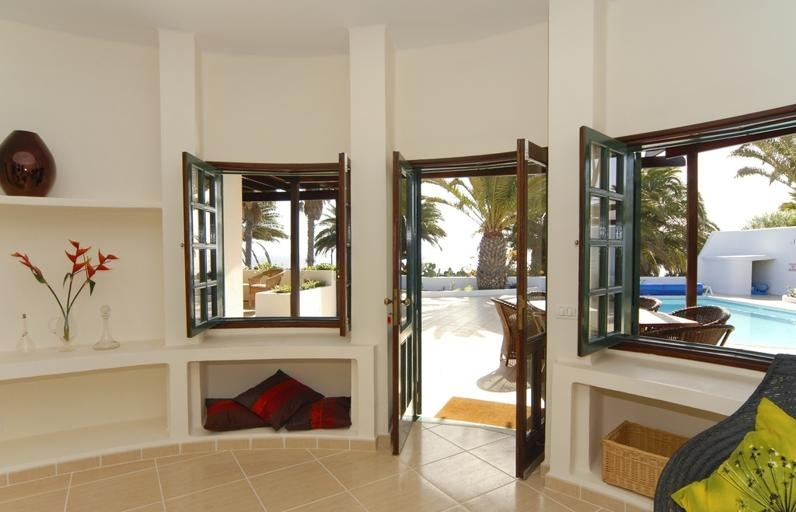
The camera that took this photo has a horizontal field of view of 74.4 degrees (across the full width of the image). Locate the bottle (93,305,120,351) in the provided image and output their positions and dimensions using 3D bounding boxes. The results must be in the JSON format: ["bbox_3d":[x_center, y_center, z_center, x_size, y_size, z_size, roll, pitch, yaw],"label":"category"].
[{"bbox_3d":[-2.927,0.698,5.248,0.240,0.419,0.288,-3,3,-18],"label":"bottle"}]

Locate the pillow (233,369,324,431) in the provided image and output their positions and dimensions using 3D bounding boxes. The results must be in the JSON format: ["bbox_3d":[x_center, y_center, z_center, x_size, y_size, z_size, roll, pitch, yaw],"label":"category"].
[{"bbox_3d":[-1.237,1.462,5.363,0.573,0.151,0.568,26,37,27],"label":"pillow"}]

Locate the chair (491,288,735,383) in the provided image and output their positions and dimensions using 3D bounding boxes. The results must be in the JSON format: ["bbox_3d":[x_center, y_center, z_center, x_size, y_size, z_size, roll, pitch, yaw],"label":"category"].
[{"bbox_3d":[2.264,0.805,5.660,2.387,1.057,2.191,-2,2,10],"label":"chair"}]

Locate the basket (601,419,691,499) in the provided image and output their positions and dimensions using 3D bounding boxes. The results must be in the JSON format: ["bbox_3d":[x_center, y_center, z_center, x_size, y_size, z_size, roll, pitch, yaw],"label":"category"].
[{"bbox_3d":[2.237,1.804,4.652,0.748,0.380,0.563,3,-6,-37],"label":"basket"}]

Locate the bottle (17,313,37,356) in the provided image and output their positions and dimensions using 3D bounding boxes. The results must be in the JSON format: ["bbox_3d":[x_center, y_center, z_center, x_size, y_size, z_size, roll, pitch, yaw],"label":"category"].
[{"bbox_3d":[-3.648,0.741,5.111,0.143,0.360,0.206,-4,3,-33],"label":"bottle"}]

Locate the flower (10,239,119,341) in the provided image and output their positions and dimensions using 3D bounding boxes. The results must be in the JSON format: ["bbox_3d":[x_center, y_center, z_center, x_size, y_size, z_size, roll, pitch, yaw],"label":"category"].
[{"bbox_3d":[-3.248,0.289,5.267,1.149,1.136,0.776,-2,6,-28],"label":"flower"}]

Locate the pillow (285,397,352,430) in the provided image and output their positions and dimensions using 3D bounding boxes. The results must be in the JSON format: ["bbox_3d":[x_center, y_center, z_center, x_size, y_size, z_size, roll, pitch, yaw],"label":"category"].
[{"bbox_3d":[-0.815,1.621,5.381,0.667,0.263,0.256,-2,2,-11],"label":"pillow"}]

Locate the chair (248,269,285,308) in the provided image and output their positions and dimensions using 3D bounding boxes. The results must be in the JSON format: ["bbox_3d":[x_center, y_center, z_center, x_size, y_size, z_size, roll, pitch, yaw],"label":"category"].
[{"bbox_3d":[-2.536,0.591,9.867,0.541,0.653,0.523,5,0,-40],"label":"chair"}]

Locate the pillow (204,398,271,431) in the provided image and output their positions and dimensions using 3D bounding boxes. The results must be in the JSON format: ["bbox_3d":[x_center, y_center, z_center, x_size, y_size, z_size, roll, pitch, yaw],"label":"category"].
[{"bbox_3d":[-1.720,1.562,5.365,0.550,0.148,0.448,3,29,-13],"label":"pillow"}]

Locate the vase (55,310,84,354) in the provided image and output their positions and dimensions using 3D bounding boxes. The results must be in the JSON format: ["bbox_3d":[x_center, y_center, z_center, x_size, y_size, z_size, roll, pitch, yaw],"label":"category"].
[{"bbox_3d":[-3.256,0.724,5.134,0.350,0.413,0.316,4,3,44],"label":"vase"}]
